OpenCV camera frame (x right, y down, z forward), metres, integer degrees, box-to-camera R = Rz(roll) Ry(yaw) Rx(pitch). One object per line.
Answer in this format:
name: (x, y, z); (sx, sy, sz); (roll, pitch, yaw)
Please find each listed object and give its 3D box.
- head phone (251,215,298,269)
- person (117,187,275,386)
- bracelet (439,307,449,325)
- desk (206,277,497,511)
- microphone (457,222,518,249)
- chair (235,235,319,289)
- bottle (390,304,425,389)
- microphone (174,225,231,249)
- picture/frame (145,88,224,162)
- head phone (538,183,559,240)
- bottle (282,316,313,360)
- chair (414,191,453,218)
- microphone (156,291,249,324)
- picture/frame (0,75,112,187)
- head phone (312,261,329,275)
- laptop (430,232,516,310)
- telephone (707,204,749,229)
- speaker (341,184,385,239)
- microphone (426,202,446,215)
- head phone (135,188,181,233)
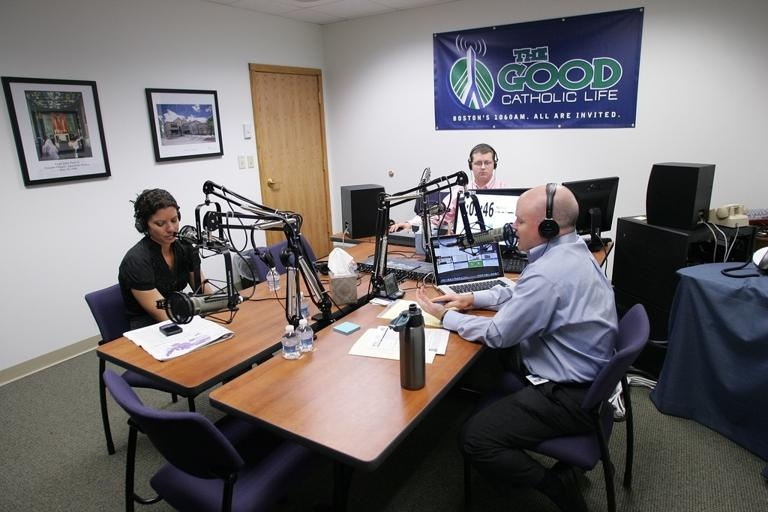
head phone: (-0.763, -0.086, 3.359); (0.281, 0.362, 0.348); (-16, 56, -12)
person: (-1.083, 0.026, 3.548); (1.028, 1.290, 0.914); (12, 23, 27)
bracelet: (0.365, 0.367, 3.035); (0.030, 0.073, 0.084); (22, 60, 12)
desk: (-0.189, 0.692, 2.660); (0.889, 0.759, 1.554); (9, 19, 28)
microphone: (0.636, -0.112, 3.080); (0.384, 0.149, 0.149); (-12, 37, 23)
chair: (-0.906, 0.060, 3.841); (0.516, 0.428, 0.502); (-20, 23, -37)
bottle: (0.129, 0.468, 2.593); (0.163, 0.446, 0.145); (-4, 14, 2)
microphone: (-1.030, -0.091, 2.810); (0.259, 0.087, 0.170); (19, 18, 18)
picture/frame: (-2.092, -1.340, 5.054); (0.032, 0.704, 0.759); (8, 18, 35)
head phone: (0.993, -0.231, 2.966); (0.111, 0.263, 0.298); (2, -1, 17)
bottle: (-0.506, 0.479, 2.890); (0.247, 0.236, 0.141); (-5, 10, -43)
chair: (0.427, -0.476, 4.536); (0.457, 0.320, 0.164); (2, 5, 5)
microphone: (-1.052, 0.267, 2.738); (0.231, 0.156, 0.366); (7, 9, 40)
picture/frame: (-2.904, -1.081, 4.278); (0.040, 1.062, 0.853); (8, 19, 39)
head phone: (-0.480, 0.088, 3.655); (0.122, 0.055, 0.090); (4, 17, 17)
laptop: (0.592, 0.079, 3.459); (0.589, 0.374, 0.449); (-9, 16, -11)
telephone: (2.644, -0.291, 3.785); (0.260, 0.135, 0.183); (-4, 19, -6)
speaker: (-0.194, -0.387, 4.442); (0.389, 0.525, 0.269); (-15, 27, -31)
microphone: (0.390, -0.354, 3.677); (0.077, 0.059, 0.121); (1, 16, 14)
head phone: (-1.591, -0.338, 3.443); (0.283, 0.297, 0.299); (13, 27, 36)
